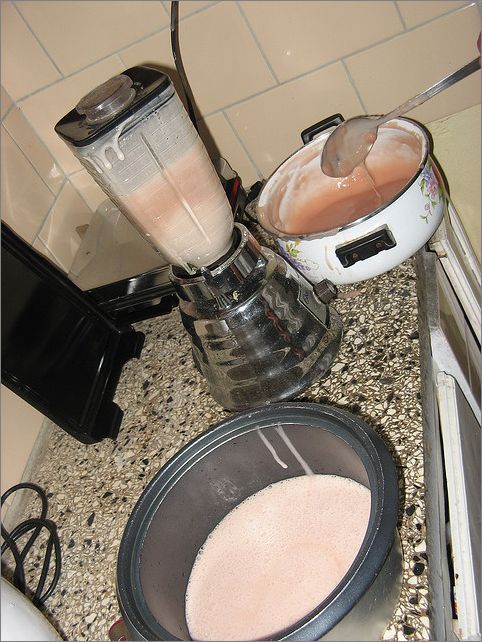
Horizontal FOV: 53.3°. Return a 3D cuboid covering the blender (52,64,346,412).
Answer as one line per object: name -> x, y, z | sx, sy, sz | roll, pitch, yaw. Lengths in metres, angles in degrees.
blender -> -0.046, -0.064, 0.515 | 0.190, 0.363, 0.194 | -44, 41, -5
